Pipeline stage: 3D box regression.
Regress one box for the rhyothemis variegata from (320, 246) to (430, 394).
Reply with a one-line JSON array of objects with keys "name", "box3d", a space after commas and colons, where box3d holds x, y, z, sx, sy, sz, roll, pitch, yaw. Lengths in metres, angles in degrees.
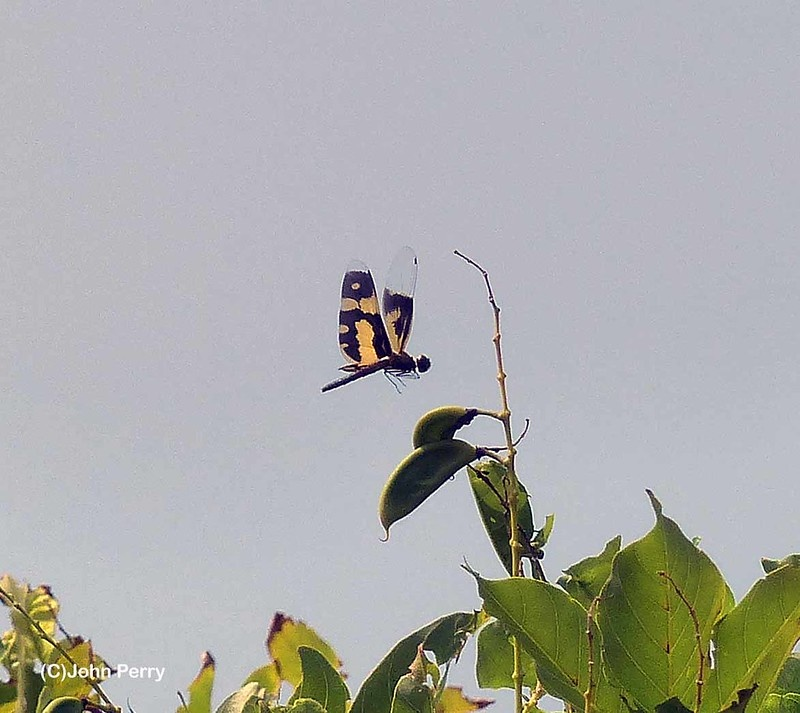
[{"name": "rhyothemis variegata", "box3d": [-0.057, 0.045, 4.633, 0.257, 0.634, 0.266, -5, -2, 4]}]
